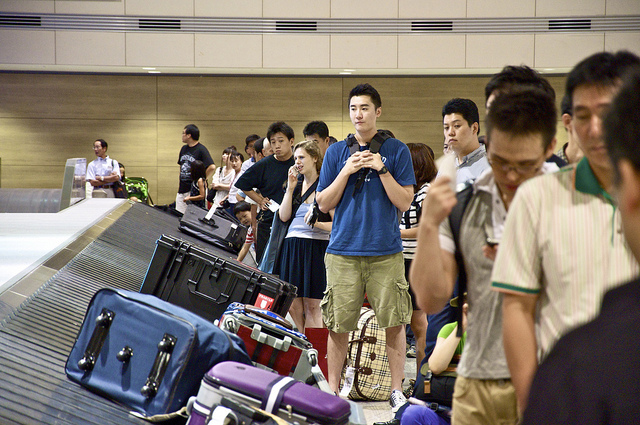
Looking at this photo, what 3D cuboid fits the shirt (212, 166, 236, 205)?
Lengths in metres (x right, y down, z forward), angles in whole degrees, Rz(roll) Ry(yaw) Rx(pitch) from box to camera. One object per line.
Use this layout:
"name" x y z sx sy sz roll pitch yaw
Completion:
"shirt" -1.537 -0.396 8.000 0.354 0.583 0.287 21 11 16

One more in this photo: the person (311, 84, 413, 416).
"person" 0.315 0.202 3.340 0.726 2.063 0.373 11 -7 -19

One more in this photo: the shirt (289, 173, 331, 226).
"shirt" -0.001 -0.102 4.030 0.419 0.396 0.280 0 6 -34

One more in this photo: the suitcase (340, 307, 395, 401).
"suitcase" 0.382 1.036 3.739 0.365 0.607 0.413 4 -15 8

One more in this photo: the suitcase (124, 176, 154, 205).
"suitcase" -3.593 -0.483 9.978 0.470 0.380 0.964 11 -8 -21

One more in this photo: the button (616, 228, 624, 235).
"button" 0.842 0.053 1.434 0.022 0.021 0.006 -4 -3 27

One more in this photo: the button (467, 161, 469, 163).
"button" 0.947 -0.324 3.265 0.013 0.007 0.012 15 26 19

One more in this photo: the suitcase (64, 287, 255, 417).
"suitcase" -0.719 0.578 2.401 0.626 0.436 0.604 17 5 25

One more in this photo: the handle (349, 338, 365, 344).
"handle" 0.264 0.889 3.571 0.162 0.031 0.057 -4 -4 8

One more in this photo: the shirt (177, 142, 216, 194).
"shirt" -2.216 -0.742 8.933 0.918 0.910 0.368 3 4 36

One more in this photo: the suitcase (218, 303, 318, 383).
"suitcase" -0.335 0.729 2.961 0.531 0.280 0.769 23 -8 -10

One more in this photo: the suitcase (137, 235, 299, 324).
"suitcase" -0.738 0.407 3.367 0.758 0.491 0.470 25 17 -22

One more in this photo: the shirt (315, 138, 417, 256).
"shirt" 0.316 -0.124 3.406 0.677 0.789 0.412 0 2 14

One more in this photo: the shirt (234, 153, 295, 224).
"shirt" -0.382 -0.196 4.859 0.873 0.757 0.254 2 -22 -3

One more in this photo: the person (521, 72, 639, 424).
"person" 0.659 0.143 1.210 0.254 0.787 0.513 6 -8 23

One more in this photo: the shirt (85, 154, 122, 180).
"shirt" -3.765 -0.754 8.928 0.562 0.424 0.273 -9 -9 -7

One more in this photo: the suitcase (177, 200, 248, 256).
"suitcase" -1.233 0.169 5.374 0.888 0.289 0.889 10 5 8

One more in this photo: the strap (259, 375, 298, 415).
"strap" -0.165 0.774 2.066 0.092 0.124 0.234 12 5 14

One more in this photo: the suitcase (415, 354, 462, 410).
"suitcase" 0.558 0.735 2.484 0.175 0.239 0.250 -12 4 1

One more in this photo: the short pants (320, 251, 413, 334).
"short pants" 0.300 0.509 3.271 0.693 0.639 0.262 0 -3 0

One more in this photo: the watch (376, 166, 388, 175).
"watch" 0.393 -0.255 3.248 0.066 0.042 0.059 -22 10 -30

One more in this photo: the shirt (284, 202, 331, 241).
"shirt" -0.083 0.088 4.021 0.241 0.310 0.339 10 -27 15
